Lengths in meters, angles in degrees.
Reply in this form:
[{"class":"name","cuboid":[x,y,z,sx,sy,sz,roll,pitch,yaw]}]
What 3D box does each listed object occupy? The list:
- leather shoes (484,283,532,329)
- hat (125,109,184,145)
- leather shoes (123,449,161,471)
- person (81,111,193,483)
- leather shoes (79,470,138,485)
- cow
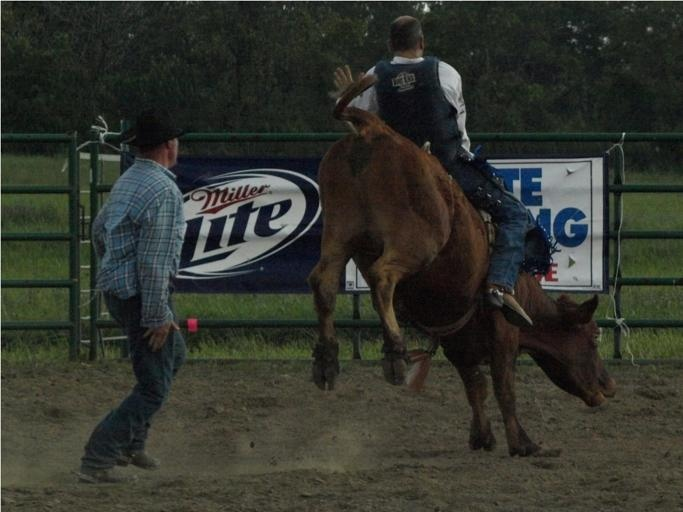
[{"class":"leather shoes","cuboid":[1.535,0.434,16.096,0.209,0.288,0.606,-23,-49,41]},{"class":"hat","cuboid":[-1.713,-1.178,15.915,0.648,0.304,0.774,-10,4,1]},{"class":"leather shoes","cuboid":[-1.831,1.839,15.990,0.391,0.201,0.147,7,16,-17]},{"class":"person","cuboid":[-1.812,0.337,15.637,0.671,3.127,1.278,8,16,25]},{"class":"leather shoes","cuboid":[-2.073,1.957,15.639,0.536,0.233,0.189,2,-4,-11]},{"class":"cow","cuboid":[0.947,0.162,16.008,2.867,3.622,0.989,-9,17,-32]}]
